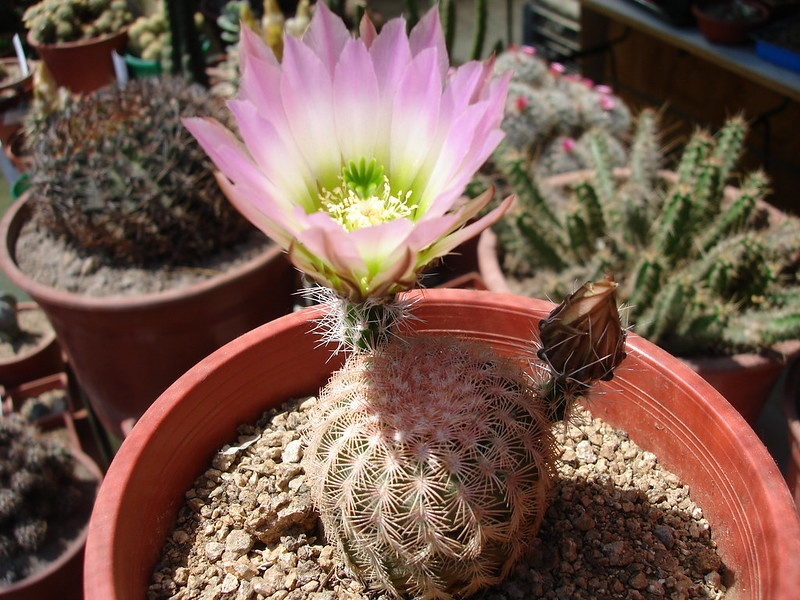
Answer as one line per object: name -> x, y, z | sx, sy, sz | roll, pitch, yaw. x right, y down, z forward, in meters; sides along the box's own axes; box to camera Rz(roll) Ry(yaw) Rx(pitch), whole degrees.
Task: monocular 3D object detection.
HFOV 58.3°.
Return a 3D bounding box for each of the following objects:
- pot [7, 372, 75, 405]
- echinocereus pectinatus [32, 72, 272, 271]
pot -> -1.045, 0.251, 2.074 | 0.122, 0.097, 0.102 | -13, 96, -6
echinocereus pectinatus -> -0.623, -0.252, 1.801 | 0.462, 0.305, 0.475 | -3, 48, -23
